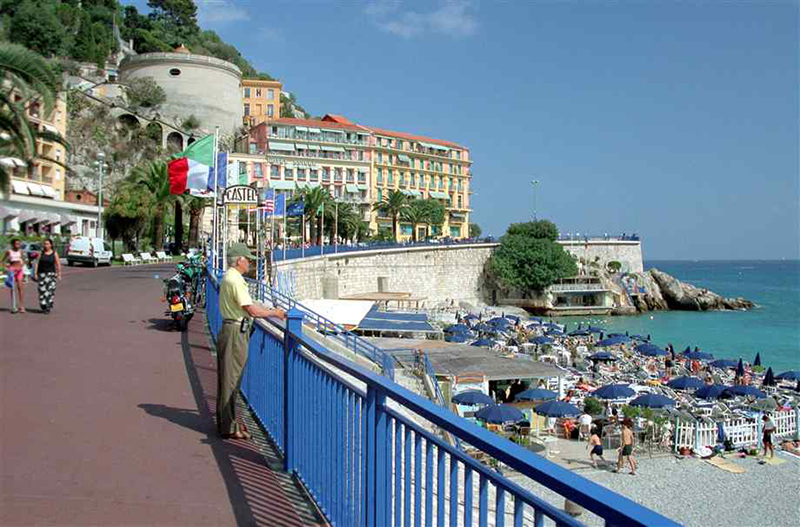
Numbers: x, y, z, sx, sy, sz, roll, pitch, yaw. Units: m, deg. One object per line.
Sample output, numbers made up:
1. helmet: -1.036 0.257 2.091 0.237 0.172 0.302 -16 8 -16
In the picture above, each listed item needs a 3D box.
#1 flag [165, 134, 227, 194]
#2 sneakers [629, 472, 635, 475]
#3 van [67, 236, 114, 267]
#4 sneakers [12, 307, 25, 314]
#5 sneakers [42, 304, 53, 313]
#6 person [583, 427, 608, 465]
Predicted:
1. flag: -7.500 -3.710 28.319 1.223 2.332 3.226 12 1 -39
2. sneakers: 7.735 6.993 25.005 0.130 0.051 0.134 4 0 34
3. van: -16.810 -0.667 41.252 1.280 1.092 2.392 3 8 3
4. sneakers: -10.647 1.291 21.032 0.146 0.188 0.424 4 -17 -42
5. sneakers: -9.860 1.246 21.182 0.234 0.308 0.300 7 20 -14
6. person: 6.787 6.267 25.866 0.665 1.289 2.216 13 0 18
